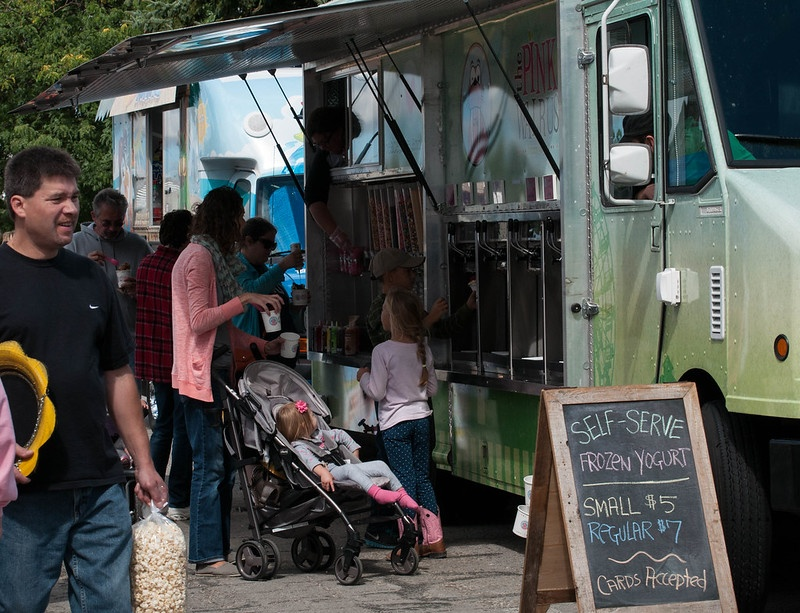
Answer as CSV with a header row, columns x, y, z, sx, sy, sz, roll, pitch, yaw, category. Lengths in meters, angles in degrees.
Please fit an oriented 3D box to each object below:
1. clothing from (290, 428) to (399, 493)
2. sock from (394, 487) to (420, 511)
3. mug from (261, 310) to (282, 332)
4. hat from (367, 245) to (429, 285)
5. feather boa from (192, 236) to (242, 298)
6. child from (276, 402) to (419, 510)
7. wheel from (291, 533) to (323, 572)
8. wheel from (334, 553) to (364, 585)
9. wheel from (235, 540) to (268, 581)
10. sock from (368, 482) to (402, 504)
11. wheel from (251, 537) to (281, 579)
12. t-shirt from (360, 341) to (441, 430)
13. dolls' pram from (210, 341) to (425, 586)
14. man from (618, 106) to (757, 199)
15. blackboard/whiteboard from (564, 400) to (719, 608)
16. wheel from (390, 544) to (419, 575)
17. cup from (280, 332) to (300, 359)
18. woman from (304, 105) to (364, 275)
x,y,z,sx,sy,sz,roll,pitch,yaw,category
-0.375,1.094,5.959,0.623,0.486,0.370,-13,-4,41,clothing
0.042,1.331,5.928,0.106,0.192,0.070,-46,16,-29,sock
-1.010,0.117,6.760,0.155,0.156,0.153,0,4,43,mug
-0.041,-0.400,7.224,0.348,0.233,0.254,-18,10,0,hat
-1.271,-0.254,6.113,0.130,0.479,0.292,-13,-17,30,feather boa
-0.397,1.059,5.999,0.980,0.626,0.577,12,3,32,child
-0.669,1.772,6.217,0.259,0.381,0.114,-2,-7,12,wheel
-0.353,1.786,5.856,0.181,0.266,0.072,1,4,31,wheel
-1.042,1.763,6.017,0.211,0.300,0.098,1,5,7,wheel
-0.115,1.269,5.843,0.219,0.131,0.137,-1,0,-11,sock
-0.943,1.742,6.018,0.207,0.281,0.223,4,3,0,wheel
0.017,0.543,6.557,0.479,0.743,0.433,-7,15,-16,t-shirt
-0.596,1.148,6.104,1.020,1.546,0.940,-3,-4,15,dolls' pram
1.648,-0.915,5.038,0.228,0.479,0.898,-1,0,-29,man
1.174,0.940,4.204,0.661,0.832,0.318,-1,0,-10,blackboard/whiteboard
0.032,1.768,6.015,0.198,0.255,0.087,2,5,42,wheel
-0.873,0.297,6.818,0.134,0.155,0.168,0,13,-13,cup
-0.710,-1.326,9.305,0.544,1.956,0.465,5,41,1,woman
